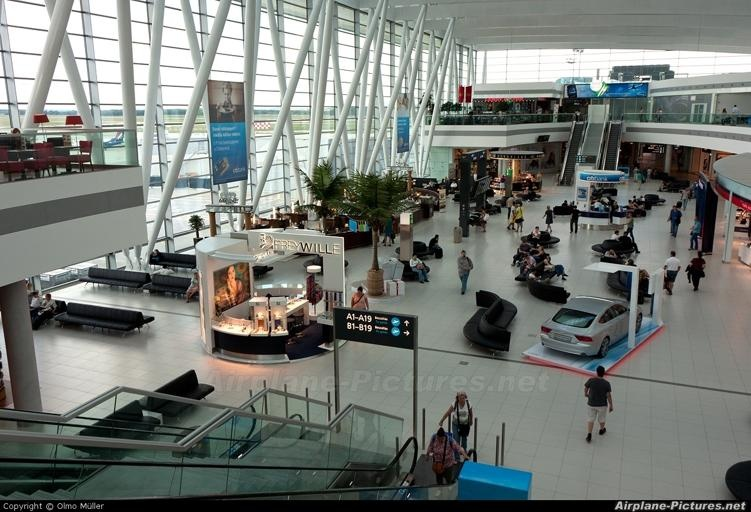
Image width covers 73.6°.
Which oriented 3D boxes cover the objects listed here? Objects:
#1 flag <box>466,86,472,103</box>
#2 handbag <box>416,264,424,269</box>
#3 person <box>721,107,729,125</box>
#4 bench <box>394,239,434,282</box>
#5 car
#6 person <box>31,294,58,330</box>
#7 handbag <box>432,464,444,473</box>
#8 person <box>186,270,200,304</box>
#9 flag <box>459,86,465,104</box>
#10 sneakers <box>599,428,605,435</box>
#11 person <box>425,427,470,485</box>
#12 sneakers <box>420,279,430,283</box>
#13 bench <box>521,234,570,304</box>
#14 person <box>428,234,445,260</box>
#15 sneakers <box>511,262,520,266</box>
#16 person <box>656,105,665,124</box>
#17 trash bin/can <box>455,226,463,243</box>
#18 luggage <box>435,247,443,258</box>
[{"bbox_3d":[8.675,-14.814,46.206,0.706,1.396,0.480,-10,17,-41],"label":"flag"},{"bbox_3d":[1.927,0.462,21.520,0.291,0.250,0.153,4,23,9],"label":"handbag"},{"bbox_3d":[24.654,-9.565,35.330,0.274,0.759,1.363,7,13,21],"label":"person"},{"bbox_3d":[2.175,0.193,24.262,1.287,0.504,1.982,-4,27,-14],"label":"bench"},{"bbox_3d":[6.292,2.174,14.975,2.585,1.463,1.317,-8,16,-37],"label":"car"},{"bbox_3d":[-11.666,1.925,17.686,0.695,1.217,0.717,15,3,-20],"label":"person"},{"bbox_3d":[1.205,4.056,9.573,0.230,0.243,0.102,4,13,13],"label":"handbag"},{"bbox_3d":[-7.148,1.203,19.637,0.431,1.252,1.231,-5,14,-26],"label":"person"},{"bbox_3d":[8.038,-14.973,46.637,0.514,1.385,0.964,1,13,-1],"label":"flag"},{"bbox_3d":[5.155,3.988,11.436,0.221,0.078,0.076,-7,13,-5],"label":"sneakers"},{"bbox_3d":[1.377,3.923,9.717,0.876,1.178,0.457,0,-1,13],"label":"person"},{"bbox_3d":[2.137,1.085,21.619,0.359,0.230,0.119,-1,13,12],"label":"sneakers"},{"bbox_3d":[7.014,0.763,20.554,1.647,1.038,3.929,-5,20,9],"label":"bench"},{"bbox_3d":[3.274,-0.366,25.437,1.144,1.005,0.436,3,-2,38],"label":"person"},{"bbox_3d":[6.552,0.403,23.356,0.363,0.233,0.122,6,9,27],"label":"sneakers"},{"bbox_3d":[26.912,-13.204,47.636,0.840,1.308,2.727,8,14,27],"label":"person"},{"bbox_3d":[4.601,-1.110,27.927,0.363,0.778,0.255,3,13,6],"label":"trash bin/can"},{"bbox_3d":[3.216,-0.171,25.189,0.324,0.565,0.520,8,14,27],"label":"luggage"}]
